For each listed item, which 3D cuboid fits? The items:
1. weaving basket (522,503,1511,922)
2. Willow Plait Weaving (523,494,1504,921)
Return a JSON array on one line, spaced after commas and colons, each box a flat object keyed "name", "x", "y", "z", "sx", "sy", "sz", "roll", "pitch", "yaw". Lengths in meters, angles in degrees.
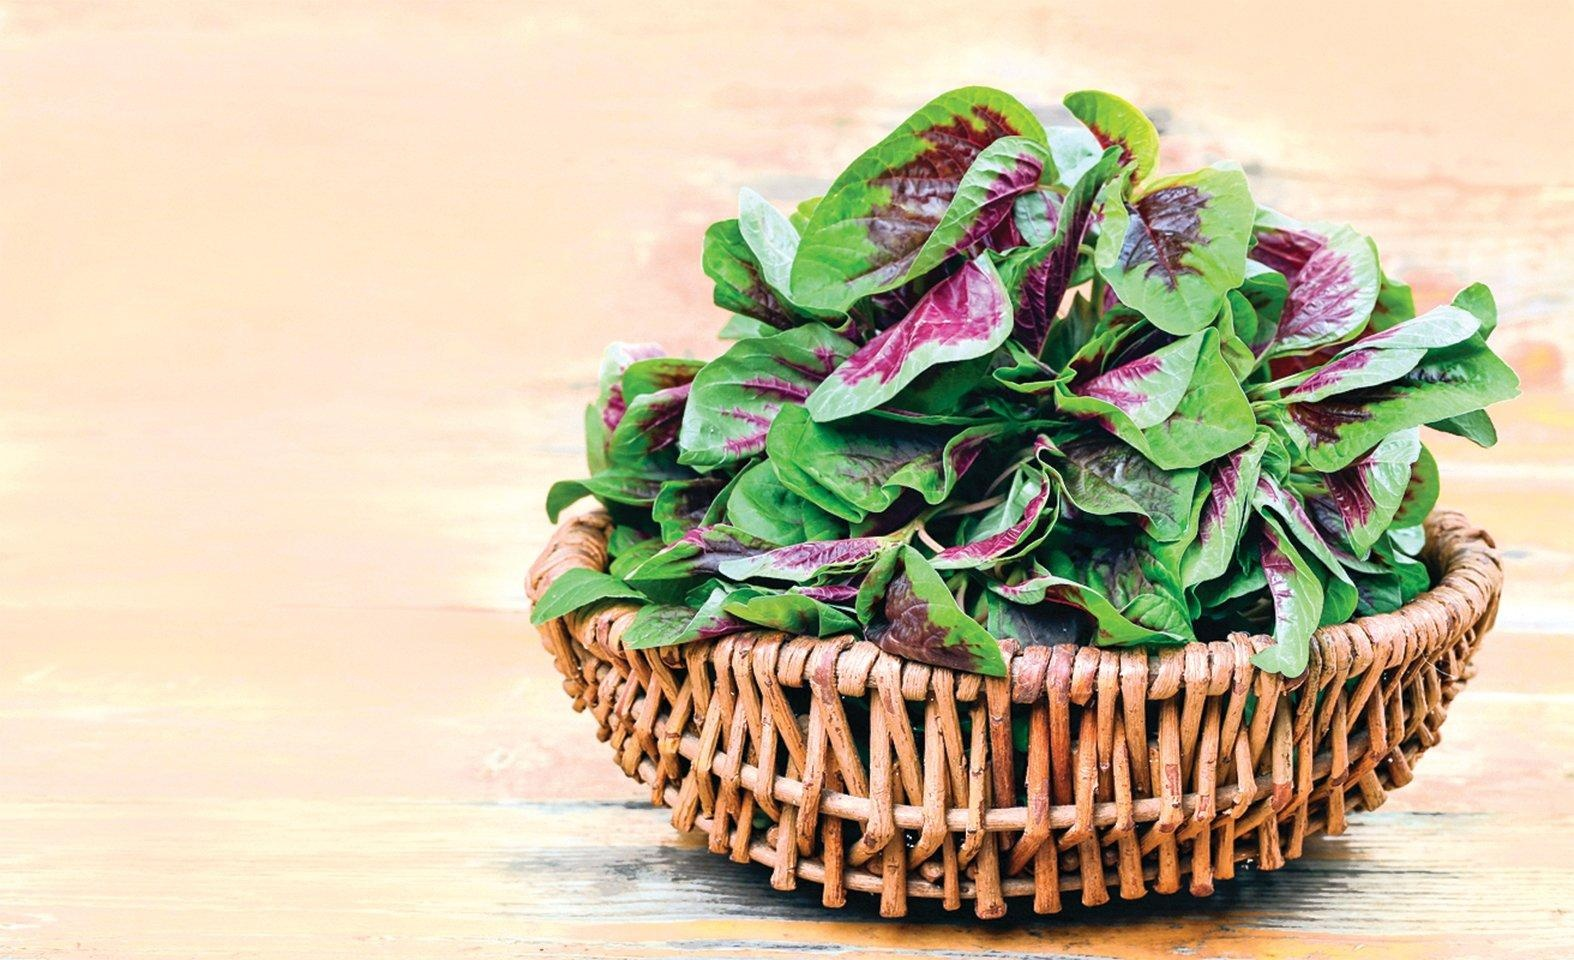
[{"name": "weaving basket", "x": 0.237, "y": 0.258, "z": 2.769, "sx": 1.044, "sy": 0.433, "sz": 0.399, "roll": 2, "pitch": -5, "yaw": 8}, {"name": "Willow Plait Weaving", "x": 0.260, "y": 0.314, "z": 3.012, "sx": 1.059, "sy": 0.267, "sz": 0.946, "roll": 0, "pitch": -3, "yaw": -34}]
